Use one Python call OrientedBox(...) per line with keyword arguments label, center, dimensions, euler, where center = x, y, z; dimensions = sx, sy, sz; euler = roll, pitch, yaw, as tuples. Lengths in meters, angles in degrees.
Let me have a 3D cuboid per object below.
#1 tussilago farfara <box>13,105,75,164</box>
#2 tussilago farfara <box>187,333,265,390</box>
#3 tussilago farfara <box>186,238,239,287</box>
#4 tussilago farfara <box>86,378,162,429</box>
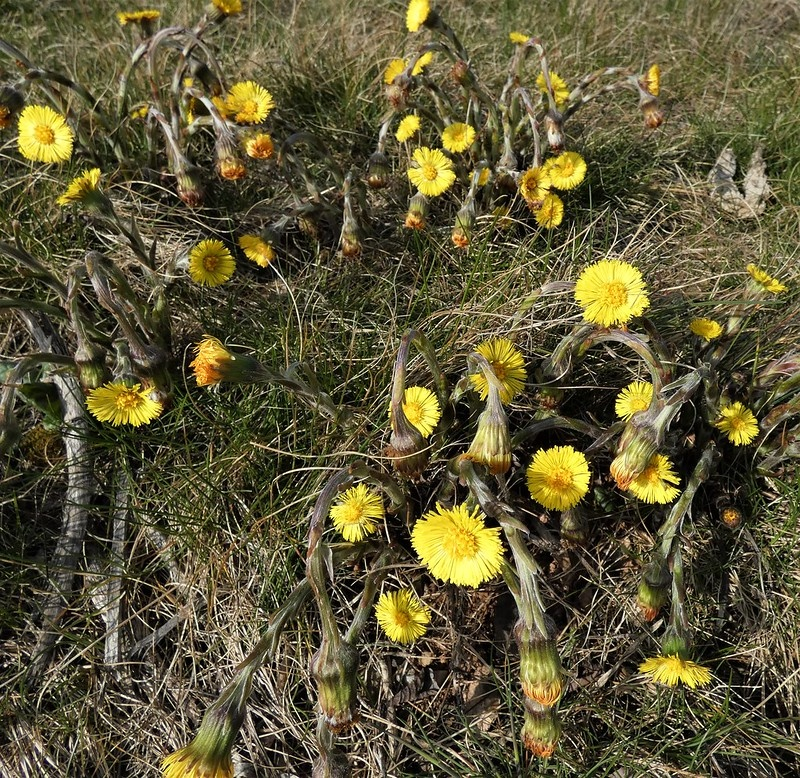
OrientedBox(label="tussilago farfara", center=(-0.859, -0.602, 1.981), dimensions=(0.119, 0.056, 0.145), euler=(0, 83, -13))
OrientedBox(label="tussilago farfara", center=(-0.322, -0.044, 1.536), dimensions=(0.122, 0.076, 0.084), euler=(20, 50, -27))
OrientedBox(label="tussilago farfara", center=(-0.461, -0.313, 1.990), dimensions=(0.095, 0.044, 0.119), euler=(2, 99, -23))
OrientedBox(label="tussilago farfara", center=(-0.571, 0.026, 1.718), dimensions=(0.145, 0.050, 0.080), euler=(5, 67, -10))
